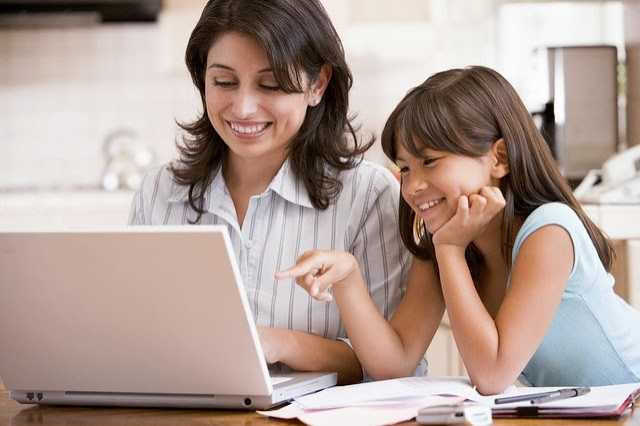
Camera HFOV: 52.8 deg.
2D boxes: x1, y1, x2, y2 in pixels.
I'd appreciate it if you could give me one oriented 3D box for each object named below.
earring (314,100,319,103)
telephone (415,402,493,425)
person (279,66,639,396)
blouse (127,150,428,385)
[{"bbox_3d":[-0.012,-0.296,1.718,0.010,0.010,0.002,0,4,-25],"label":"earring"},{"bbox_3d":[0.240,0.363,1.166,0.131,0.037,0.038,-2,7,11],"label":"telephone"},{"bbox_3d":[0.365,0.055,1.520,0.839,0.800,0.380,-3,7,-2],"label":"person"},{"bbox_3d":[-0.154,0.068,1.826,0.710,0.640,0.499,1,-3,-27],"label":"blouse"}]
